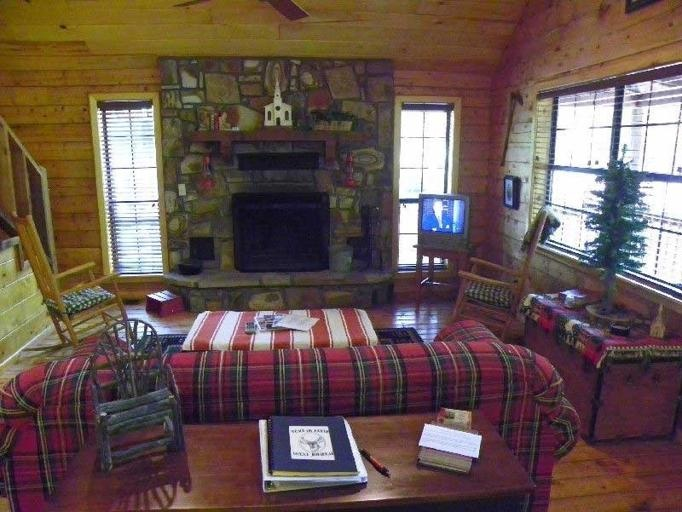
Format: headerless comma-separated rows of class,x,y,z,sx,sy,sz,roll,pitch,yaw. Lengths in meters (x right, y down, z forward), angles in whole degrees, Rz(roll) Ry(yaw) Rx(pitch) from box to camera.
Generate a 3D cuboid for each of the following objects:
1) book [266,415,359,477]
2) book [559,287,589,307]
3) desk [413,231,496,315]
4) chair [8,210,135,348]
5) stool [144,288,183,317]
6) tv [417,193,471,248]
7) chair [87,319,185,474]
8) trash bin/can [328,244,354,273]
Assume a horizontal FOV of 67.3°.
book,-0.115,0.772,2.122,0.219,0.052,0.225,0,20,-9
book,1.885,0.333,4.126,0.141,0.034,0.148,-8,17,-17
desk,1.122,0.192,5.840,0.588,0.649,0.553,6,9,14
chair,-2.530,0.257,4.921,0.732,1.219,0.792,8,15,45
stool,-1.913,0.527,5.609,0.349,0.166,0.266,19,24,34
tv,1.112,-0.351,5.699,0.558,0.583,0.337,4,-12,2
chair,-0.891,0.605,2.223,0.341,0.538,0.481,-10,17,-21
trash bin/can,0.005,0.037,5.721,0.273,0.242,0.287,1,9,-13
